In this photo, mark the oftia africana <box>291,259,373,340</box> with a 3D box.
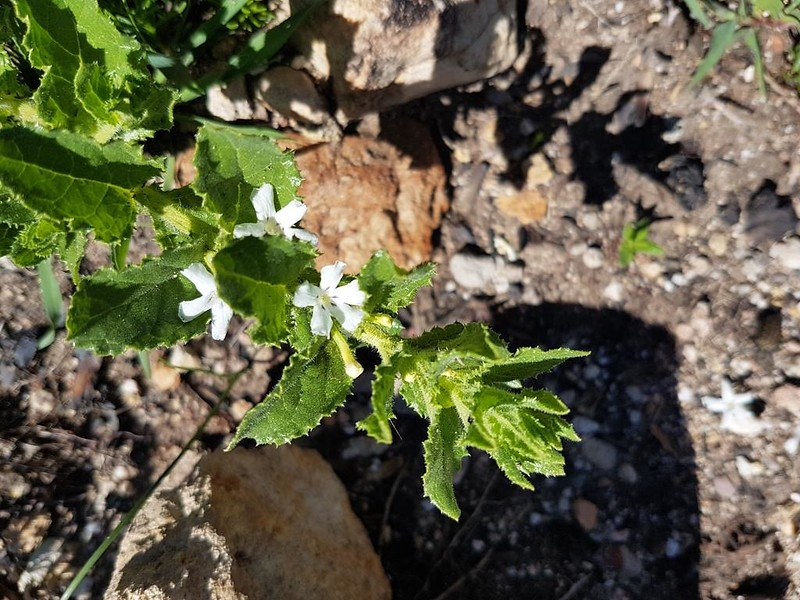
[{"bbox_3d":[-0.297,-0.046,3.858,0.292,0.323,0.151,29,1,-29],"label":"oftia africana"}]

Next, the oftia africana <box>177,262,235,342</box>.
[{"bbox_3d":[-0.826,0.014,3.775,0.259,0.230,0.171,26,10,37],"label":"oftia africana"}]

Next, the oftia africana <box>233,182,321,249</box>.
[{"bbox_3d":[-0.535,-0.351,3.866,0.357,0.205,0.333,19,8,-15],"label":"oftia africana"}]
